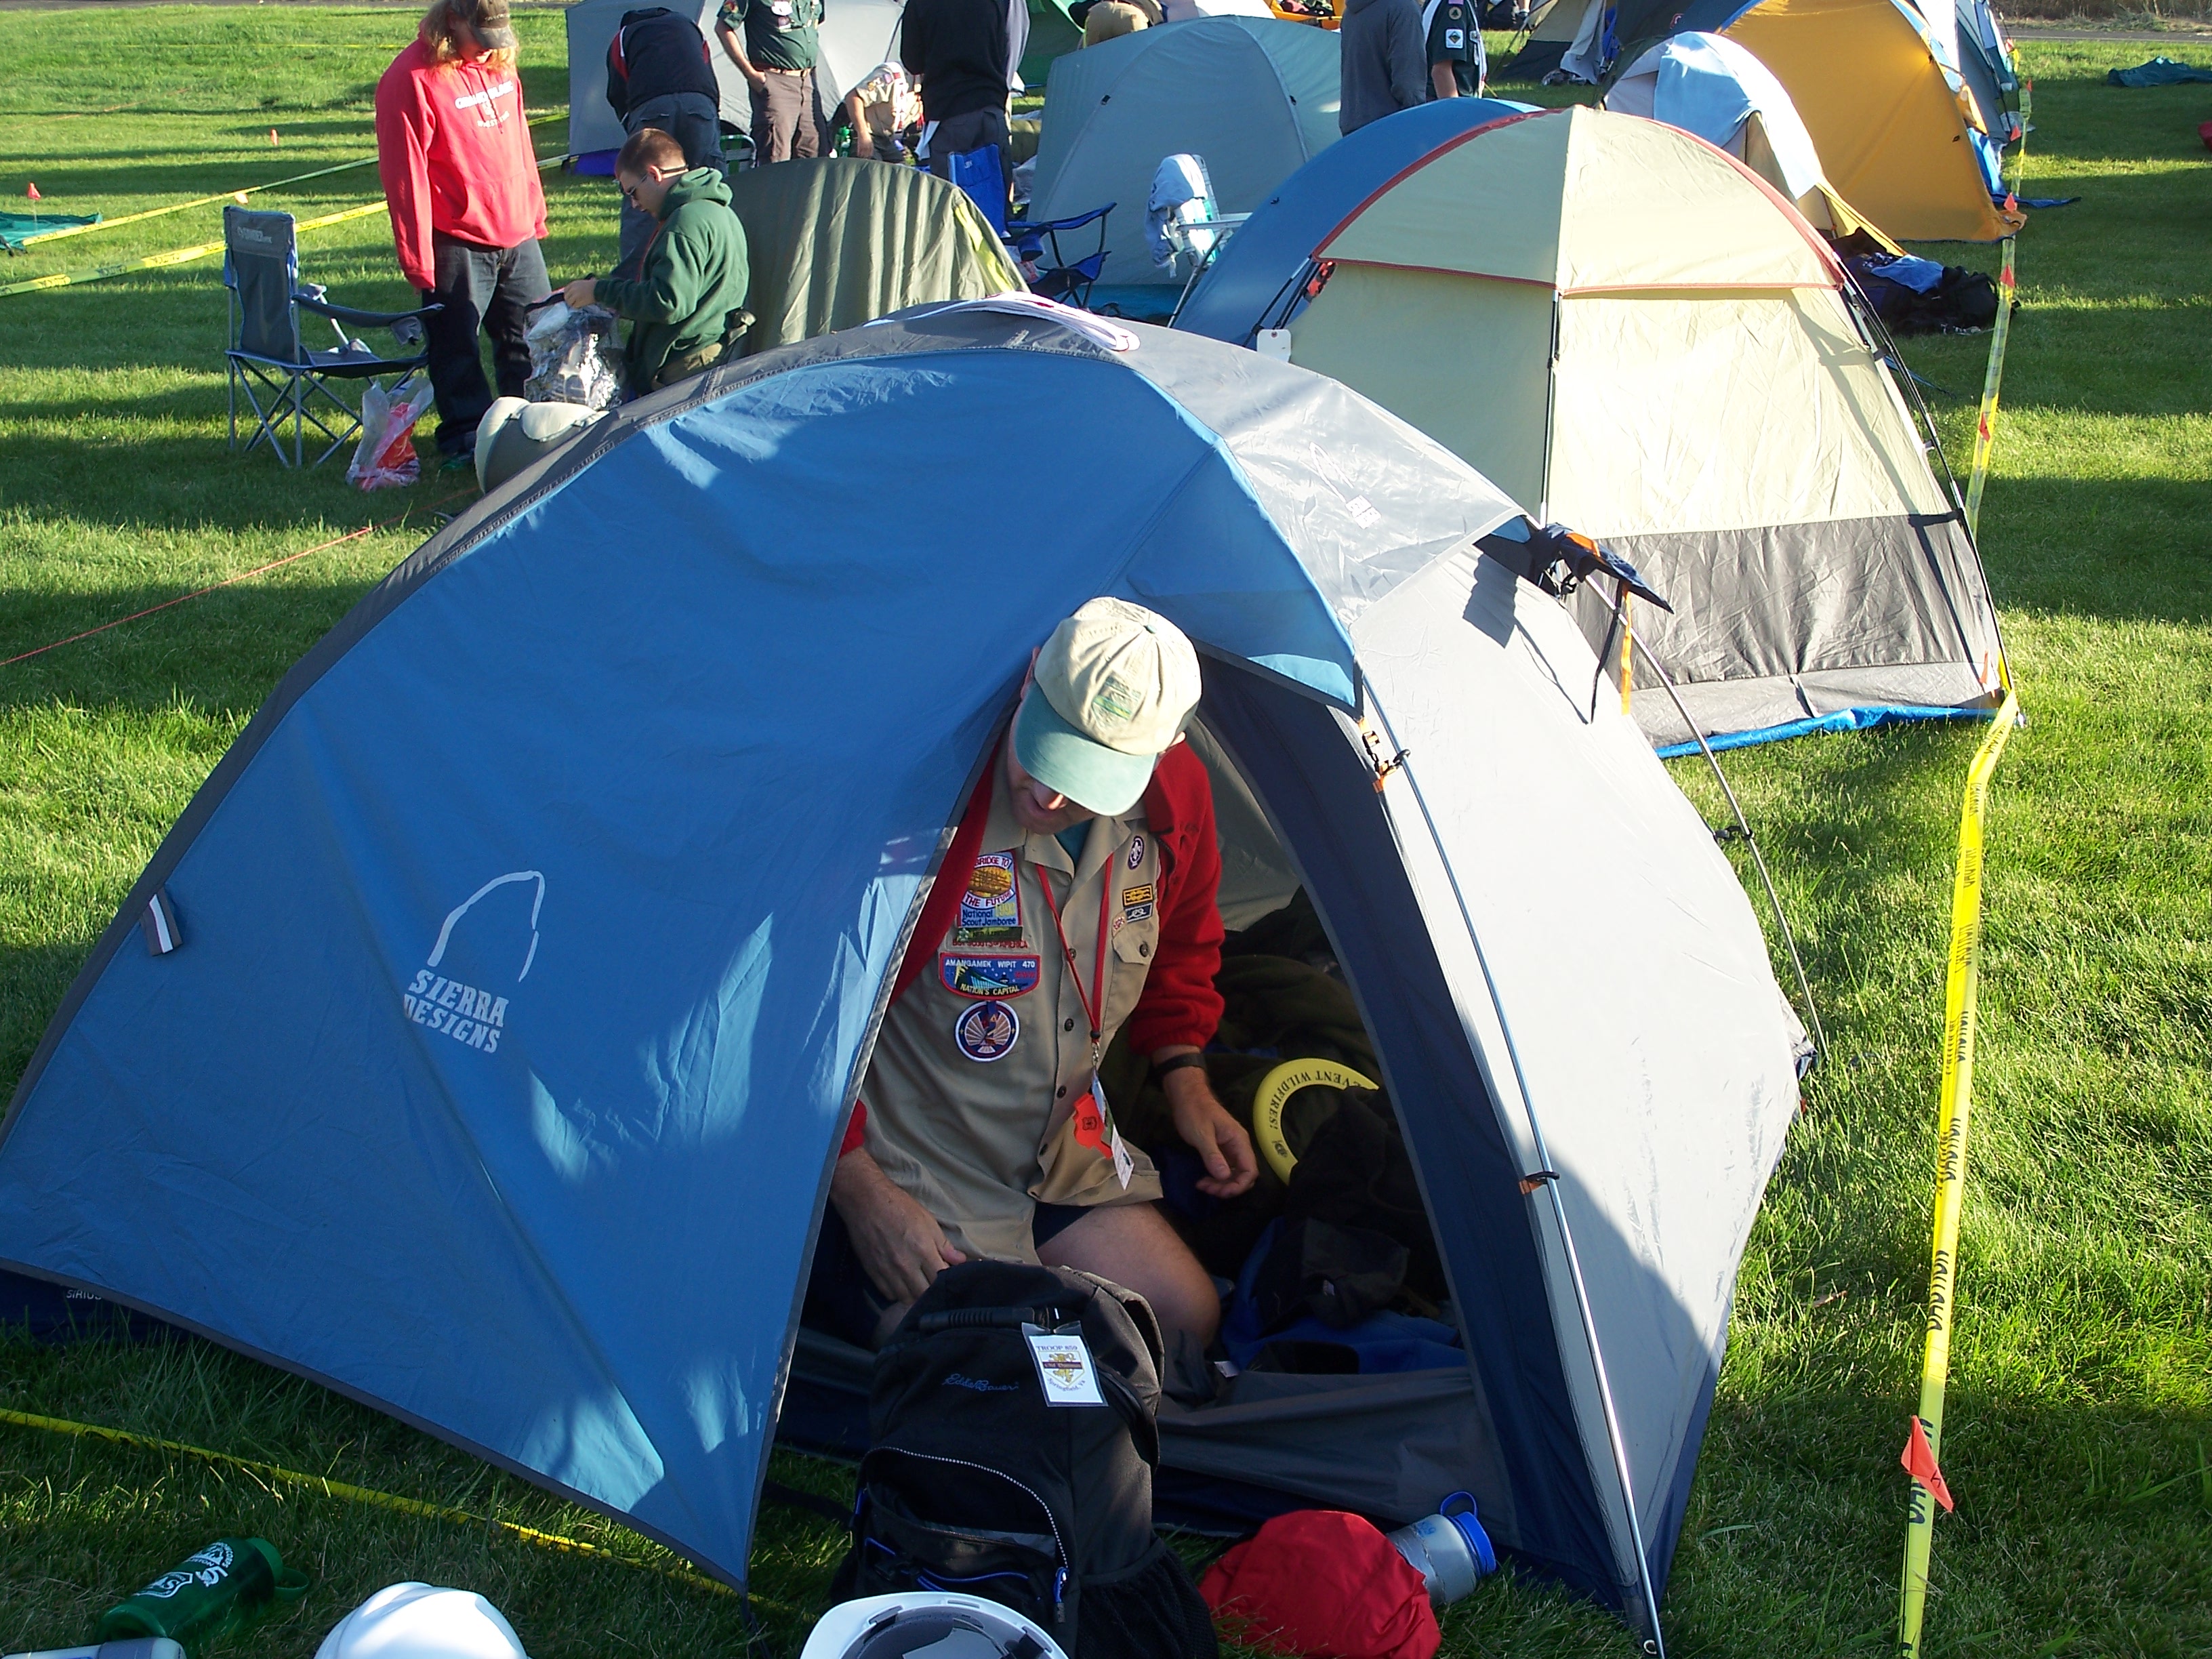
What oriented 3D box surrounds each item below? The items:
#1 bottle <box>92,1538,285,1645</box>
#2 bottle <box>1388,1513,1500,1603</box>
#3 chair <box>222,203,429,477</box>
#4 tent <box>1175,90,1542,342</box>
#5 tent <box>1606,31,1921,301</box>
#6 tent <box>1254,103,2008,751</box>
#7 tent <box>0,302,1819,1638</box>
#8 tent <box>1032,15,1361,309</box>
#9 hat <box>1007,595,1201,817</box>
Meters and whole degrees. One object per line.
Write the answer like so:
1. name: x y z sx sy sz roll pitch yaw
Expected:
1. bottle: -1.624 1.348 3.965 0.139 0.089 0.210 7 16 26
2. bottle: 0.627 1.305 4.156 0.163 0.156 0.213 3 2 37
3. chair: -3.190 -1.970 9.065 0.765 1.057 0.802 3 18 -9
4. tent: 0.690 -2.047 7.455 0.970 0.528 1.134 7 43 50
5. tent: 3.360 -3.550 11.208 1.571 0.874 1.725 15 35 19
6. tent: 1.644 -1.330 6.930 1.891 1.511 1.866 21 36 33
7. tent: -0.322 0.127 4.252 2.371 1.600 2.910 15 33 12
8. tent: 0.479 -3.094 11.910 1.494 1.165 1.709 -8 43 1
9. hat: -0.013 -0.233 4.149 0.266 0.421 0.205 26 -16 -6
